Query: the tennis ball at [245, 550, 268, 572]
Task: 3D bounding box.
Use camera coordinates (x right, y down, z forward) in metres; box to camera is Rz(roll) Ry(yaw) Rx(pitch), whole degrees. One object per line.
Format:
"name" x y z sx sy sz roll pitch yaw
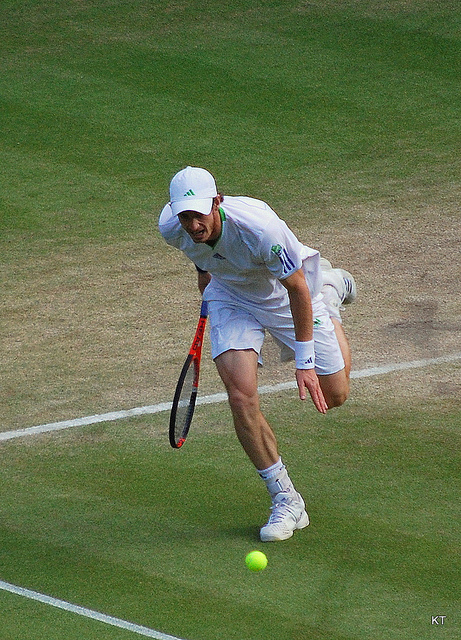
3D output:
"tennis ball" 0.126 1.194 4.781 0.103 0.097 0.099 -41 -10 -9

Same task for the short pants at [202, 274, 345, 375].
"short pants" 0.262 0.051 5.442 0.761 0.596 0.585 -5 13 -1
